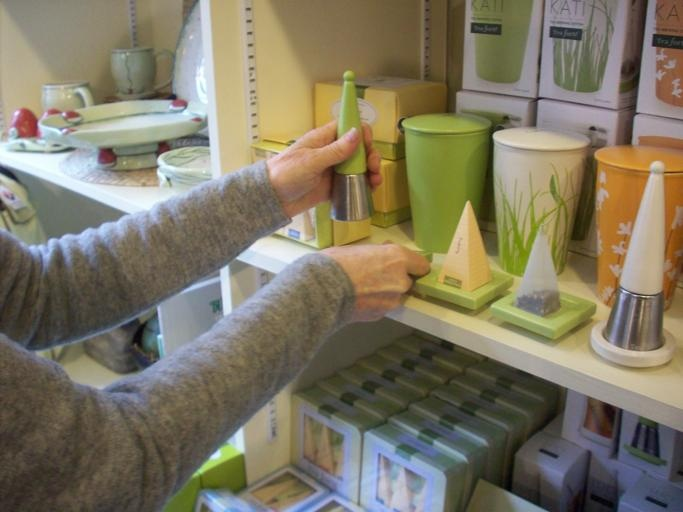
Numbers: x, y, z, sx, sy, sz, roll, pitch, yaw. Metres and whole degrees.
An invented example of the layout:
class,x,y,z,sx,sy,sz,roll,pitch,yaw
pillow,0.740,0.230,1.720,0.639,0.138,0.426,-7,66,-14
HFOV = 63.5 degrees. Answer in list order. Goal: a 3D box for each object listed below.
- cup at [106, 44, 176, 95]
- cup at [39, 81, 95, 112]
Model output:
class,x,y,z,sx,sy,sz,roll,pitch,yaw
cup,-0.670,-0.609,1.804,0.147,0.170,0.227,19,24,41
cup,-0.871,-0.497,1.761,0.164,0.125,0.114,10,18,42
